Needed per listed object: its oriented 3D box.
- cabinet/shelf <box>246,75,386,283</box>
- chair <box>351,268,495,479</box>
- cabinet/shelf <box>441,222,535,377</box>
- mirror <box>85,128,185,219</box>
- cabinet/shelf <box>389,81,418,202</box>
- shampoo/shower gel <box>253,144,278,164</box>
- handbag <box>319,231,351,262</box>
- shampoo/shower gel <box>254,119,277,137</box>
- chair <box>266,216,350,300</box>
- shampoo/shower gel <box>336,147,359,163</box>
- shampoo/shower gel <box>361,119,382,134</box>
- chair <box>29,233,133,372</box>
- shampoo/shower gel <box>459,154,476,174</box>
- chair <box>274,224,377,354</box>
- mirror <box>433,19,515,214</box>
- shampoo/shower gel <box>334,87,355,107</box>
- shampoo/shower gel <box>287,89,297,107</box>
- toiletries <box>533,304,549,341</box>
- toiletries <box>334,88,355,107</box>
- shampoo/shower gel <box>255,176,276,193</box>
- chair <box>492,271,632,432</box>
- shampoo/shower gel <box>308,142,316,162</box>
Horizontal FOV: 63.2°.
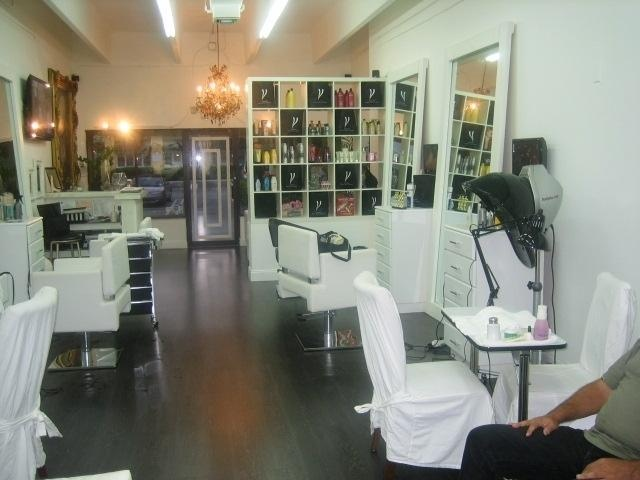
[{"bbox_3d":[0.017,-0.785,8.078,2.055,3.340,0.732,-1,-12,10],"label":"cabinet/shelf"},{"bbox_3d":[0.545,0.780,3.958,1.123,1.593,1.000,-7,9,-8],"label":"chair"},{"bbox_3d":[1.395,0.499,4.254,0.448,1.190,1.241,0,5,1],"label":"cabinet/shelf"},{"bbox_3d":[-3.668,-1.324,10.561,1.798,1.791,0.222,-2,11,-7],"label":"mirror"},{"bbox_3d":[1.230,-1.351,7.294,0.172,1.796,0.657,0,7,-30],"label":"cabinet/shelf"},{"bbox_3d":[-0.834,-1.296,8.078,0.471,0.390,0.270,0,0,-9],"label":"shampoo/shower gel"},{"bbox_3d":[0.144,0.045,5.378,0.321,0.346,0.240,-13,14,-23],"label":"handbag"},{"bbox_3d":[-0.836,-1.730,8.014,0.364,0.238,0.252,-1,12,-4],"label":"shampoo/shower gel"},{"bbox_3d":[-0.115,0.127,5.482,0.659,0.686,0.917,-7,15,-32],"label":"chair"},{"bbox_3d":[0.423,-1.313,8.064,0.356,0.217,0.159,-1,11,-4],"label":"shampoo/shower gel"},{"bbox_3d":[0.813,-1.734,8.005,0.234,0.204,0.252,-1,7,-10],"label":"shampoo/shower gel"},{"bbox_3d":[-2.285,0.617,5.101,0.698,1.169,0.815,-3,5,-12],"label":"chair"},{"bbox_3d":[1.577,-0.821,5.687,0.167,0.271,0.168,1,8,-7],"label":"shampoo/shower gel"},{"bbox_3d":[0.008,0.466,5.694,0.702,1.310,1.031,-5,9,-29],"label":"chair"},{"bbox_3d":[1.635,-1.188,5.639,0.184,2.029,1.171,-5,12,-20],"label":"mirror"},{"bbox_3d":[0.386,-2.185,7.988,0.318,0.346,0.112,0,13,-2],"label":"shampoo/shower gel"},{"bbox_3d":[-0.433,-2.185,8.018,0.128,0.281,0.188,6,13,28],"label":"shampoo/shower gel"},{"bbox_3d":[1.425,0.510,3.337,0.098,0.206,0.205,5,13,24],"label":"toiletries"},{"bbox_3d":[0.387,-2.200,8.038,0.303,0.285,0.226,0,11,0],"label":"toiletries"},{"bbox_3d":[-0.826,-0.859,8.079,0.242,0.171,0.261,-1,8,-1],"label":"shampoo/shower gel"},{"bbox_3d":[1.747,0.700,3.915,0.990,1.462,0.883,1,7,4],"label":"chair"},{"bbox_3d":[-0.099,-1.362,8.085,0.135,0.303,0.146,0,11,1],"label":"shampoo/shower gel"}]
